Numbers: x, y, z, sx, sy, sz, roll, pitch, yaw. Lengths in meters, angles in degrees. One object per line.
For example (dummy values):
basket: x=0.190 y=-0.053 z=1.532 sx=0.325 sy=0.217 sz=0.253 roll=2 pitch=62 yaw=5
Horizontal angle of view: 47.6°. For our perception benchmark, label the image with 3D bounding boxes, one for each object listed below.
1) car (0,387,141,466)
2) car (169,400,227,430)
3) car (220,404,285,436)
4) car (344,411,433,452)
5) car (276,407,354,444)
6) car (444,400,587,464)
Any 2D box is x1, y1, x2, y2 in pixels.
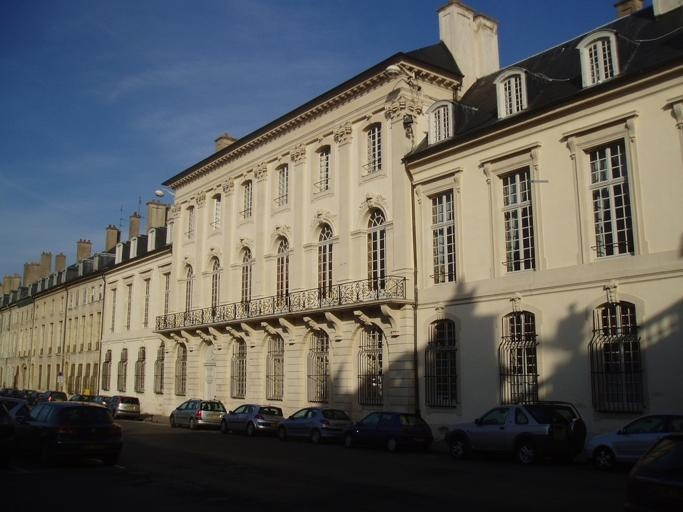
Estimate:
car: x=-8.192 y=5.153 z=22.768 sx=3.140 sy=1.789 sz=1.427 roll=-6 pitch=-19 yaw=20
car: x=-7.313 y=7.980 z=39.081 sx=1.577 sy=1.010 sz=3.044 roll=9 pitch=-13 yaw=-38
car: x=-4.062 y=7.453 z=35.253 sx=1.385 sy=0.925 sz=2.730 roll=13 pitch=-16 yaw=-41
car: x=1.743 y=6.374 z=28.182 sx=1.430 sy=0.939 sz=2.761 roll=13 pitch=-16 yaw=-41
car: x=-1.082 y=6.925 z=31.764 sx=1.502 sy=0.993 sz=2.728 roll=12 pitch=-15 yaw=-42
car: x=5.549 y=5.567 z=24.900 sx=1.912 sy=1.474 sz=3.849 roll=11 pitch=-13 yaw=-42
